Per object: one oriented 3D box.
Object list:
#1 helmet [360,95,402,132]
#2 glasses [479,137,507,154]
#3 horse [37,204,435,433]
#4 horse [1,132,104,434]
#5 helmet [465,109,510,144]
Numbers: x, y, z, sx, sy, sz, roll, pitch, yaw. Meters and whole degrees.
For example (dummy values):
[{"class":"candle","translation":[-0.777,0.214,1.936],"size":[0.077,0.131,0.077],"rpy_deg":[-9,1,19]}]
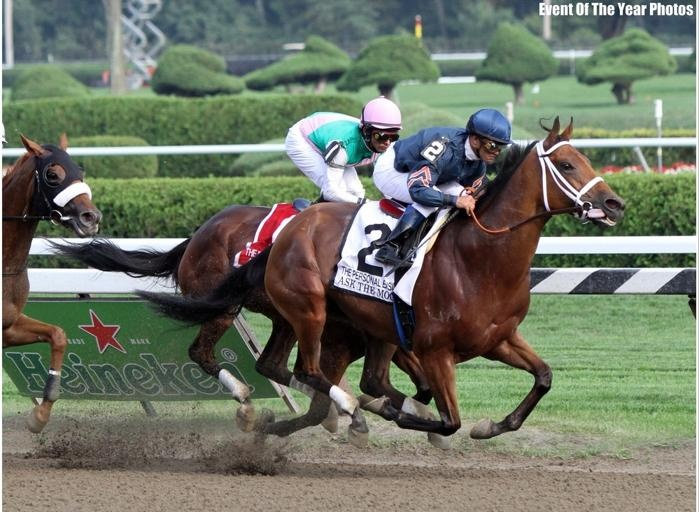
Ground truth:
[{"class":"helmet","translation":[0.191,-0.878,8.154],"size":[0.172,0.154,0.235],"rpy_deg":[-4,14,-36]},{"class":"glasses","translation":[0.855,-0.653,7.798],"size":[0.092,0.034,0.108],"rpy_deg":[5,14,-28]},{"class":"horse","translation":[-0.576,0.287,8.495],"size":[2.731,1.483,0.616],"rpy_deg":[6,-3,32]},{"class":"horse","translation":[-1.896,0.183,8.281],"size":[0.711,1.815,0.302],"rpy_deg":[-10,9,-12]},{"class":"helmet","translation":[0.833,-0.766,7.826],"size":[0.236,0.126,0.187],"rpy_deg":[14,34,9]}]
